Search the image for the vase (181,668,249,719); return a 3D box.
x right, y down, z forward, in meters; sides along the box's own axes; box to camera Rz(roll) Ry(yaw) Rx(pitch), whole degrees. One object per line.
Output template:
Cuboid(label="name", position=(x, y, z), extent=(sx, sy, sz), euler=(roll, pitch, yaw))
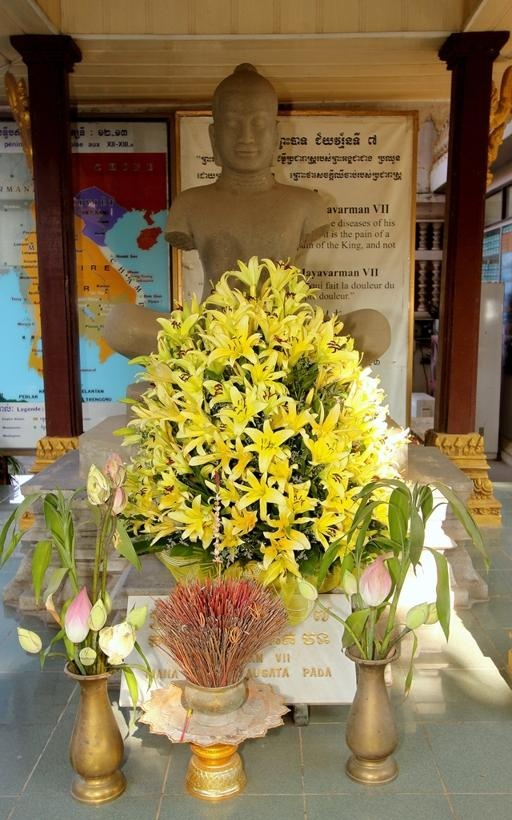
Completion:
Cuboid(label="vase", position=(-0.062, 0.441, 0.934), extent=(0.093, 0.064, 0.066), euler=(0, 0, -5))

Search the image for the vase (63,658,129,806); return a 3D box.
Cuboid(label="vase", position=(-0.279, 0.555, 1.078), extent=(0.096, 0.254, 0.189), euler=(0, 0, -12))
